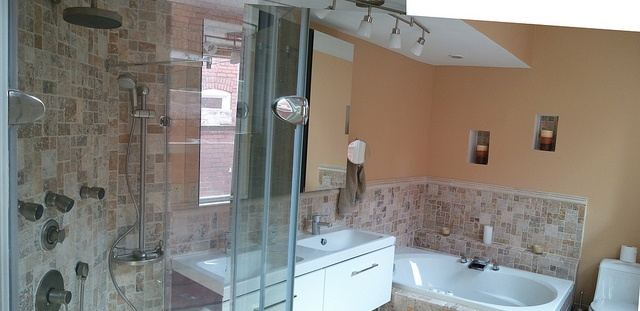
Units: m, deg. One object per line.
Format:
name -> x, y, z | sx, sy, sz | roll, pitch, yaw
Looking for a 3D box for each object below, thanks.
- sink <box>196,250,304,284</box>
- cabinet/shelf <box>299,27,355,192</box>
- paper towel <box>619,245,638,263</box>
sink -> -0.468, 0.690, 2.414 | 0.339, 0.102, 0.500 | 4, 5, 35
cabinet/shelf -> 0.059, -0.486, 4.365 | 0.261, 1.759, 0.784 | 5, 7, 30
paper towel -> 3.952, 1.269, 5.001 | 0.251, 0.193, 0.181 | 2, 2, 21
